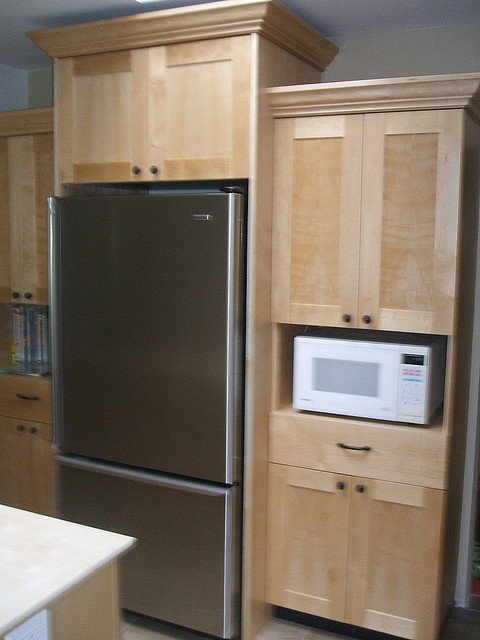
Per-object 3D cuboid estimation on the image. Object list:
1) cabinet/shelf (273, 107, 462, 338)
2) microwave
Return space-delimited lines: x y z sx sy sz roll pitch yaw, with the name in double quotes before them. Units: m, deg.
"cabinet/shelf" 0.427 -0.339 1.943 0.698 0.755 0.379 6 12 28
"microwave" 0.468 0.108 2.091 0.474 0.269 0.321 2 4 30
